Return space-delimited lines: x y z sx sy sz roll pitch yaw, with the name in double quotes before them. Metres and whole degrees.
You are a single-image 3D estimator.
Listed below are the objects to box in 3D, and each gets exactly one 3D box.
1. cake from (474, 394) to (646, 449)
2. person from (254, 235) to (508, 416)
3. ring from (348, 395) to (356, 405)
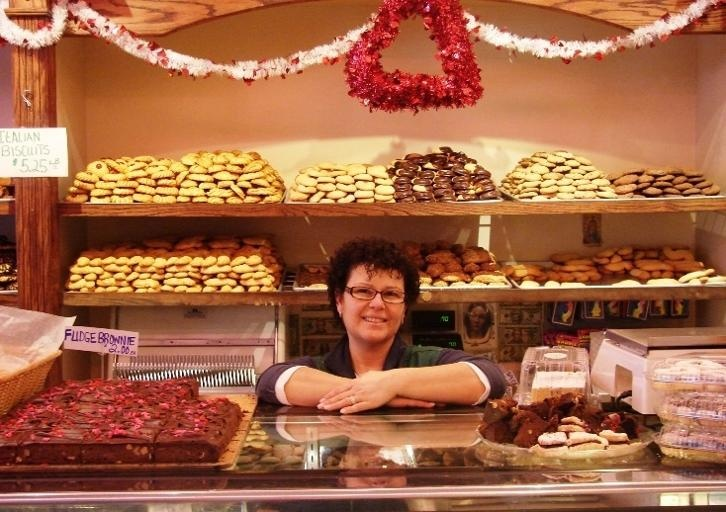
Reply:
"cake" 0.599 0.500 1.763 0.342 0.066 0.203 -1 -3 -7
"person" 0.061 0.245 2.793 1.553 0.733 0.710 -1 -27 -5
"ring" -0.048 0.540 2.167 0.031 0.023 0.008 1 -17 46
